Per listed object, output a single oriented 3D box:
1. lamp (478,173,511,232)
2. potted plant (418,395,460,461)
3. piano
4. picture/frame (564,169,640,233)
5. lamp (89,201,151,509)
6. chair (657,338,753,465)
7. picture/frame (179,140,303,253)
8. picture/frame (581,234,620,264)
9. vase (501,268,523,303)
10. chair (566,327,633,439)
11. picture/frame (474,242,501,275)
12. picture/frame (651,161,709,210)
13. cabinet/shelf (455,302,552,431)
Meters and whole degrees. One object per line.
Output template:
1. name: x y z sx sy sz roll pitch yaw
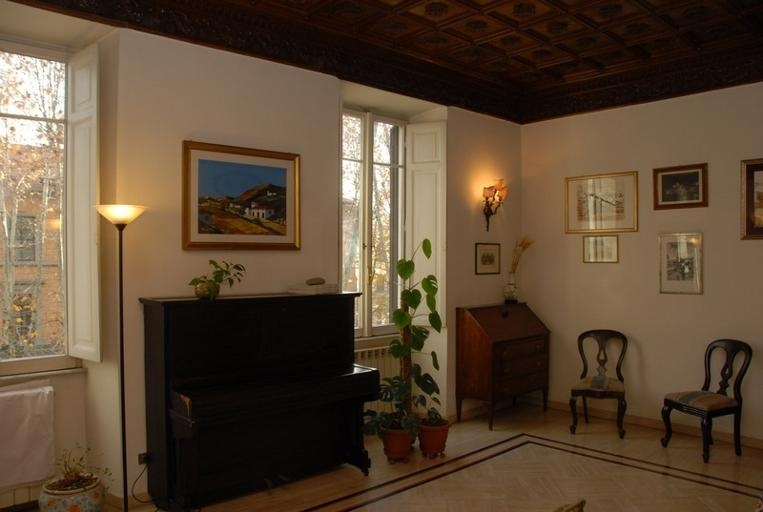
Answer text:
1. lamp: 1.681 -0.722 7.844 0.252 0.747 0.567 5 7 40
2. potted plant: 0.624 2.000 6.379 0.411 0.602 0.383 16 -14 6
3. piano: -1.250 1.374 5.502 2.086 2.010 0.800 -3 7 -31
4. picture/frame: 3.126 -0.758 7.549 0.944 0.777 0.067 0 0 35
5. lamp: -2.378 0.967 5.091 0.386 2.887 0.653 -2 6 -21
6. chair: 3.933 1.657 6.454 0.985 1.289 0.681 -4 7 -36
7. picture/frame: -1.545 -0.625 5.705 1.256 1.025 0.096 -1 2 -32
8. picture/frame: 3.092 -0.095 7.557 0.428 0.350 0.034 -2 -2 37
9. vase: 1.946 0.461 8.056 0.210 0.488 0.433 2 6 17
10. chair: 2.890 1.656 7.162 0.691 1.248 0.939 3 6 25
11. picture/frame: 1.549 0.038 7.822 0.028 0.432 0.500 0 0 -32
12. picture/frame: 3.891 -0.899 6.982 0.672 0.612 0.051 -2 -2 40
13. cabinet/shelf: 1.660 1.454 7.523 1.352 1.519 0.663 -4 7 -35
